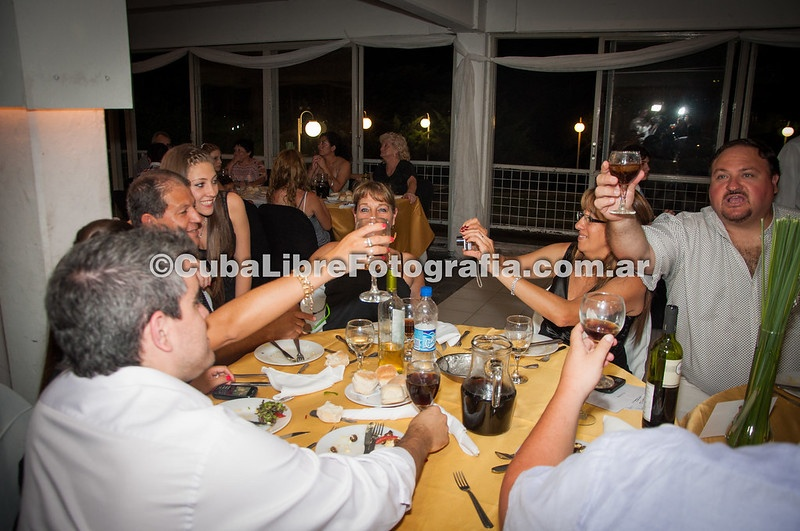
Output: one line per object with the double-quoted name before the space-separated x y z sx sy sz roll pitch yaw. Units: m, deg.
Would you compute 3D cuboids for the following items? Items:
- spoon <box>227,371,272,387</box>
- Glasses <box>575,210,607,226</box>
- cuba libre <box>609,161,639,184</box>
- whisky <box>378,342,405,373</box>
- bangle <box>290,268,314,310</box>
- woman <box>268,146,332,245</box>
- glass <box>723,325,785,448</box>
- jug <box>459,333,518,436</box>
"spoon" -0.589 0.448 1.918 0.154 0.008 0.057 4 19 -18
"Glasses" 1.018 -0.245 2.604 0.091 0.028 0.090 15 11 -9
"cuba libre" 0.875 -0.359 1.917 0.122 0.082 0.089 -5 12 -26
"whisky" -0.035 0.368 1.941 0.101 0.118 0.110 0 -6 -1
"bangle" -0.376 0.087 1.879 0.068 0.200 0.149 -7 16 -27
"woman" -1.047 -0.688 5.157 0.691 1.148 0.623 17 27 30
"glass" 1.093 0.334 1.492 0.132 0.440 0.114 13 4 41
"jug" 0.301 0.425 1.637 0.181 0.313 0.303 3 11 2
